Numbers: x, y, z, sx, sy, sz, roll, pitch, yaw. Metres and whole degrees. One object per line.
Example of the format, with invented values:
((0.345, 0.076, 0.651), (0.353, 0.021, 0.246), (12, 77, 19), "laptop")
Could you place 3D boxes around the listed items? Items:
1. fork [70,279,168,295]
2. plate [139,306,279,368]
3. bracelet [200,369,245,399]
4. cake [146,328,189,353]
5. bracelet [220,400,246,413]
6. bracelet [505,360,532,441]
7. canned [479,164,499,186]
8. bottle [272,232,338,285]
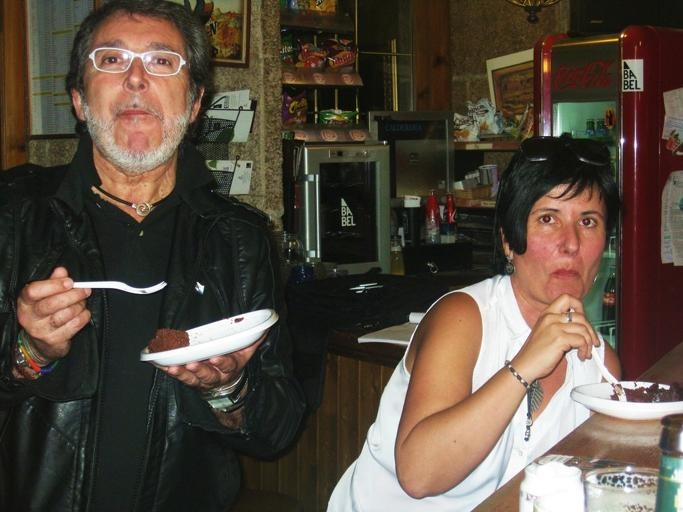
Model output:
((-0.665, 0.091, 1.871), (0.347, 0.031, 0.046), (2, 20, -5), "fork")
((-0.379, 0.235, 1.828), (0.377, 0.123, 0.255), (-2, 6, -16), "plate")
((-0.355, 0.399, 1.903), (0.087, 0.038, 0.100), (-12, 14, 35), "bracelet")
((-0.501, 0.239, 1.813), (0.092, 0.040, 0.068), (-7, 5, 2), "cake")
((-0.329, 0.447, 1.935), (0.058, 0.034, 0.047), (-16, -11, -39), "bracelet")
((0.540, 0.412, 1.851), (0.062, 0.217, 0.228), (2, -13, 21), "bracelet")
((1.461, -0.808, 6.310), (0.206, 0.203, 0.199), (0, 11, 3), "canned")
((-0.240, 0.021, 4.059), (0.349, 0.316, 0.339), (1, -3, -21), "bottle")
